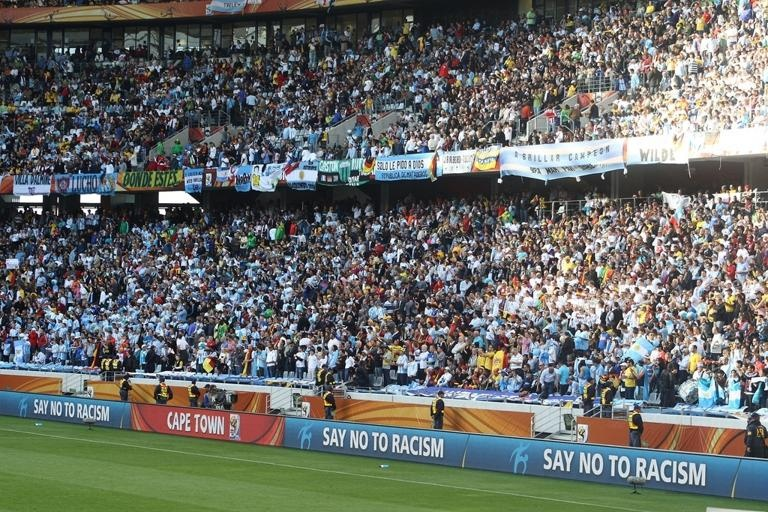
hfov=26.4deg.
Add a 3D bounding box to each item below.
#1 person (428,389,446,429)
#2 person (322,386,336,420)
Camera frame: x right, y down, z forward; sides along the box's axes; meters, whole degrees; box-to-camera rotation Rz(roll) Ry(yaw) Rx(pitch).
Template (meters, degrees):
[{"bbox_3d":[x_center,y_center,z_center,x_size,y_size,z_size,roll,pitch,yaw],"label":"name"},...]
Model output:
[{"bbox_3d":[2.018,5.896,62.630,0.506,1.570,0.827,-2,13,-1],"label":"person"},{"bbox_3d":[-2.223,5.834,65.218,0.501,1.416,0.839,-3,13,-2],"label":"person"}]
